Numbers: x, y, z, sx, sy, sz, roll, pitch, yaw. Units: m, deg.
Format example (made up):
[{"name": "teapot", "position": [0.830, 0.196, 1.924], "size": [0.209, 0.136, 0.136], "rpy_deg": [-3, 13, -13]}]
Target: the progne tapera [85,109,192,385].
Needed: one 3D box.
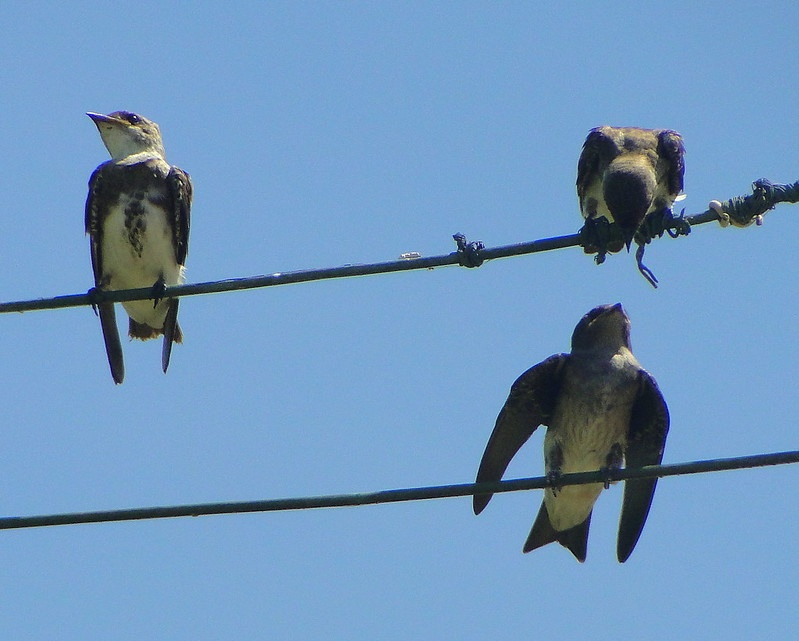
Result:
[{"name": "progne tapera", "position": [-2.237, -0.696, 18.032], "size": [0.652, 1.355, 2.185], "rpy_deg": [-5, -64, -6]}]

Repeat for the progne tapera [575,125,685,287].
[{"name": "progne tapera", "position": [1.992, -0.971, 18.206], "size": [0.947, 2.289, 1.086], "rpy_deg": [-1, -40, 5]}]
